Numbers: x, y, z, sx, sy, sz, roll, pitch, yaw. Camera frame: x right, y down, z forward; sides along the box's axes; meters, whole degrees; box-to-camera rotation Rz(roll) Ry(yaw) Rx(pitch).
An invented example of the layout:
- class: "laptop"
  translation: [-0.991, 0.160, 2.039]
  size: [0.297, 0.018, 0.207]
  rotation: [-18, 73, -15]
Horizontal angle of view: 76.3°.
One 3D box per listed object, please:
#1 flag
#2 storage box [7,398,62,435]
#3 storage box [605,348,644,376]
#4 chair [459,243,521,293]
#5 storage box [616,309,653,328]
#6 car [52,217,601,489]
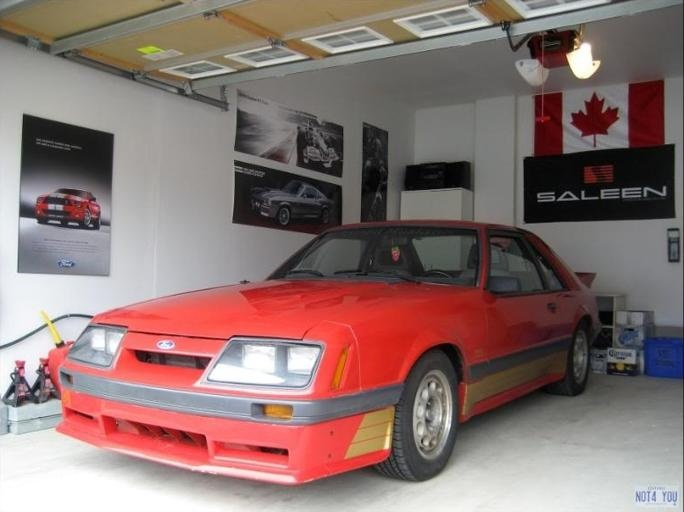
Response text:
- class: "flag"
  translation: [4.898, -2.559, 8.185]
  size: [2.110, 1.282, 0.096]
  rotation: [-2, -6, 24]
- class: "storage box"
  translation: [-2.439, 1.255, 3.412]
  size: [0.214, 0.151, 0.311]
  rotation: [0, -1, 37]
- class: "storage box"
  translation: [3.905, 1.411, 5.964]
  size: [0.394, 0.341, 0.386]
  rotation: [0, -1, 8]
- class: "chair"
  translation: [1.007, 0.095, 2.976]
  size: [0.380, 0.427, 0.274]
  rotation: [0, -3, 0]
- class: "storage box"
  translation: [4.445, 0.929, 6.536]
  size: [0.283, 0.192, 0.405]
  rotation: [0, -1, 28]
- class: "car"
  translation: [0.570, 0.526, 3.440]
  size: [4.509, 1.609, 1.650]
  rotation: [6, -8, -44]
